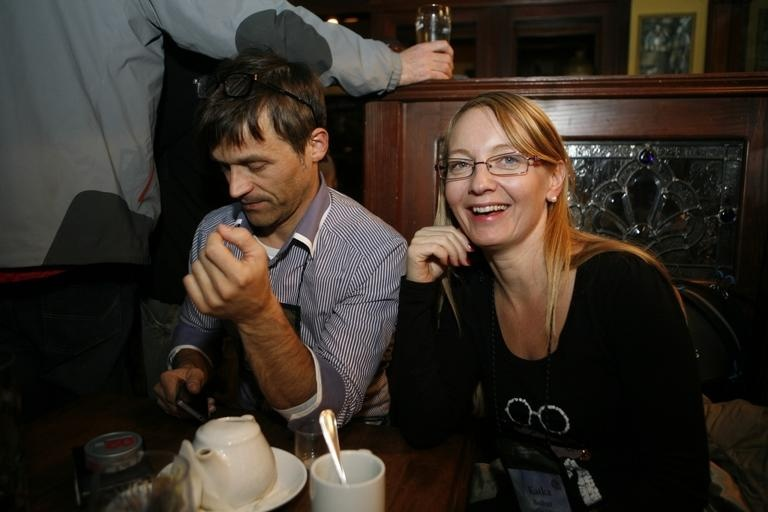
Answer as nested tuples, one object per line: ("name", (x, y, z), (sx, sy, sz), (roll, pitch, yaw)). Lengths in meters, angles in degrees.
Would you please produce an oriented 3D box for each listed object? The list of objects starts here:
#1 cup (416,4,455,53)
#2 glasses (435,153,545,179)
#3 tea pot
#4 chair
("cup", (0.213, -1.001, 2.559), (0.177, 0.293, 0.177), (-1, 17, 0))
("glasses", (0.370, -0.306, 1.980), (0.310, 0.086, 0.065), (0, 15, 15))
("tea pot", (-0.387, 0.540, 1.536), (0.167, 0.171, 0.235), (-1, 9, 19))
("chair", (1.399, 0.358, 2.412), (0.399, 0.424, 0.313), (-4, 1, 1))
